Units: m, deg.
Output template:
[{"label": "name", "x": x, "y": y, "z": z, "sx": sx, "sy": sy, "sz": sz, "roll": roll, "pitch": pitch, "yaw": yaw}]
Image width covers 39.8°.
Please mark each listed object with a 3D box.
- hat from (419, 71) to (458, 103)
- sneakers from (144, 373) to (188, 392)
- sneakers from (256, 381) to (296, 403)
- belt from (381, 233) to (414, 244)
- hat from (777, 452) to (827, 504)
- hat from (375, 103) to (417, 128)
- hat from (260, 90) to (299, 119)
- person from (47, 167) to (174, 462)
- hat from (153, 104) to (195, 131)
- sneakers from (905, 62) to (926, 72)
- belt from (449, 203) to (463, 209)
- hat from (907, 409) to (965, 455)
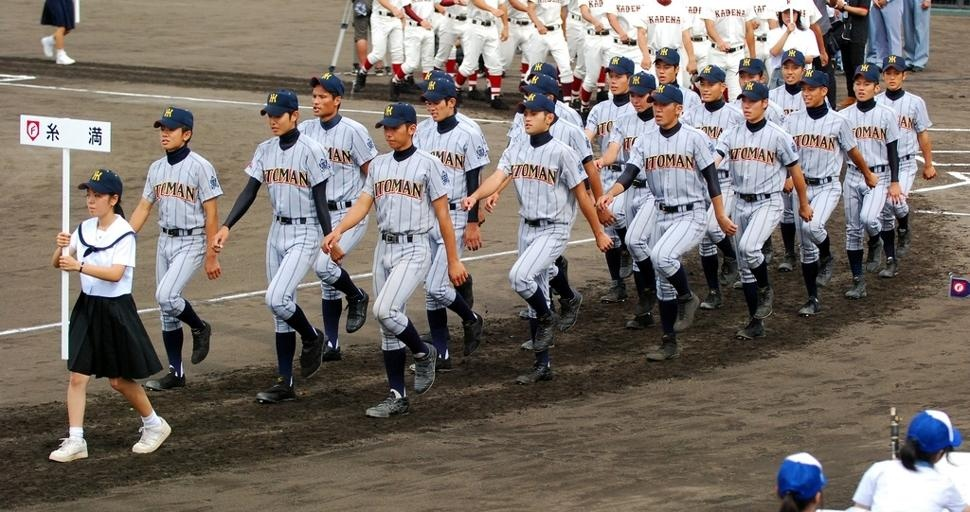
[{"label": "hat", "x": -0.539, "y": -2.341, "z": 18.754, "sx": 0.684, "sy": 0.258, "sz": 0.422, "roll": -2, "pitch": 25, "yaw": -26}, {"label": "sneakers", "x": -4.333, "y": 1.720, "z": 18.222, "sx": 0.695, "sy": 0.209, "sz": 0.208, "roll": 0, "pitch": 4, "yaw": -8}, {"label": "sneakers", "x": -2.797, "y": 1.833, "z": 17.989, "sx": 0.634, "sy": 0.212, "sz": 0.226, "roll": -2, "pitch": 13, "yaw": -22}, {"label": "belt", "x": -1.174, "y": -0.222, "z": 17.832, "sx": 0.411, "sy": 0.138, "sz": 0.081, "roll": 1, "pitch": 13, "yaw": 3}, {"label": "hat", "x": 3.390, "y": 2.386, "z": 14.589, "sx": 0.495, "sy": 0.287, "sz": 0.565, "roll": 5, "pitch": 31, "yaw": 17}, {"label": "hat", "x": -1.145, "y": -1.831, "z": 17.695, "sx": 0.547, "sy": 0.193, "sz": 0.336, "roll": -5, "pitch": 11, "yaw": -30}, {"label": "hat", "x": -2.776, "y": -2.084, "z": 18.347, "sx": 0.590, "sy": 0.223, "sz": 0.383, "roll": -11, "pitch": 18, "yaw": -44}, {"label": "person", "x": -4.767, "y": 0.739, "z": 17.019, "sx": 1.381, "sy": 3.545, "sz": 1.060, "roll": -2, "pitch": 14, "yaw": -12}, {"label": "hat", "x": -4.241, "y": -1.836, "z": 18.239, "sx": 0.477, "sy": 0.286, "sz": 0.380, "roll": -3, "pitch": 12, "yaw": -16}, {"label": "sneakers", "x": 10.700, "y": -4.687, "z": 33.732, "sx": 0.274, "sy": 0.234, "sz": 0.674, "roll": -4, "pitch": 5, "yaw": -14}, {"label": "belt", "x": -0.467, "y": -0.696, "z": 19.191, "sx": 0.172, "sy": 0.098, "sz": 0.049, "roll": -2, "pitch": 13, "yaw": -14}, {"label": "hat", "x": 4.927, "y": 1.965, "z": 14.882, "sx": 0.413, "sy": 0.462, "sz": 0.470, "roll": 9, "pitch": 14, "yaw": 34}]
